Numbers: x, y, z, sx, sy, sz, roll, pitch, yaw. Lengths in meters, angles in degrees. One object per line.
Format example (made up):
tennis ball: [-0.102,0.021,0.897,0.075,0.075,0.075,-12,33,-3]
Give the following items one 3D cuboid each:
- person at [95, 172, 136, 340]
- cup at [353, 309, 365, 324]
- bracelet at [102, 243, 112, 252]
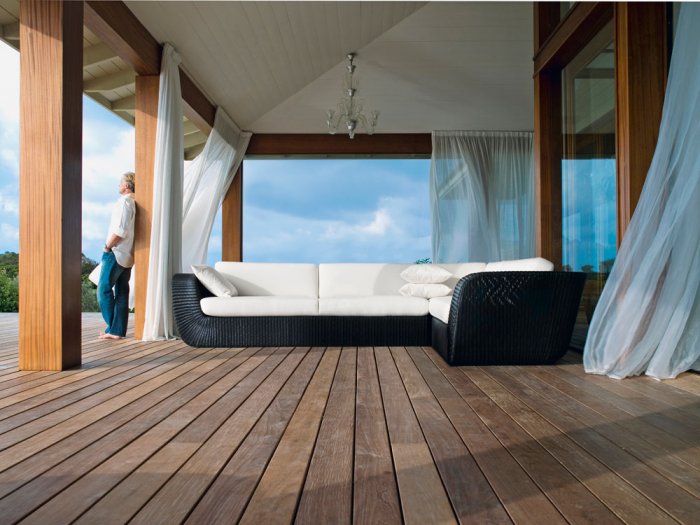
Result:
person: [-2.300,-0.090,4.323,0.338,1.673,0.407,-1,2,-31]
cup: [0.052,0.359,2.939,0.093,0.075,0.093,-1,-2,0]
bracelet: [-2.313,-0.141,4.187,0.081,0.079,0.064,-7,2,28]
